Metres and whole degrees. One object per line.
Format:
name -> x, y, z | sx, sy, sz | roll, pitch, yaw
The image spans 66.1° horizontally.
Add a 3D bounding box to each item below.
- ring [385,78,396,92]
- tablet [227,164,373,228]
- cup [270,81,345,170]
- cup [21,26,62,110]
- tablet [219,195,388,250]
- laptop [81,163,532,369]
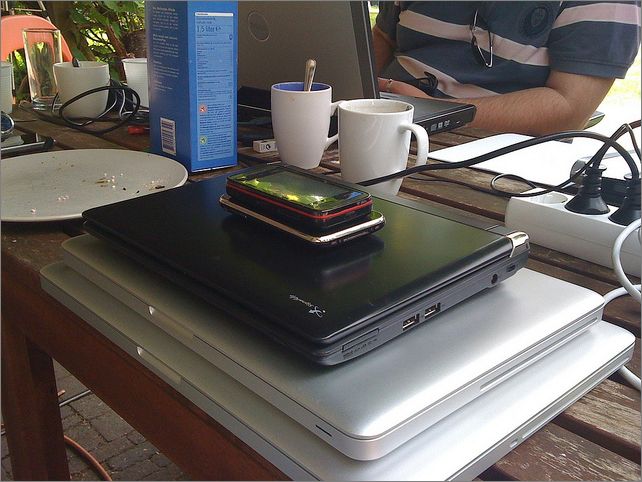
ring -> 0.256, -0.577, 1.802 | 0.019, 0.065, 0.062 | 14, 63, 6
tablet -> -0.024, -0.074, 0.551 | 0.132, 0.028, 0.080 | 25, 34, 35
cup -> -0.019, -0.236, 1.042 | 0.217, 0.167, 0.150 | 9, 29, 7
cup -> -0.761, -0.488, 1.445 | 0.106, 0.278, 0.138 | -10, 32, -24
tablet -> -0.014, -0.052, 0.592 | 0.141, 0.051, 0.151 | 23, 29, 38
laptop -> 0.023, 0.017, 0.512 | 0.246, 0.045, 0.331 | -19, 31, -40
